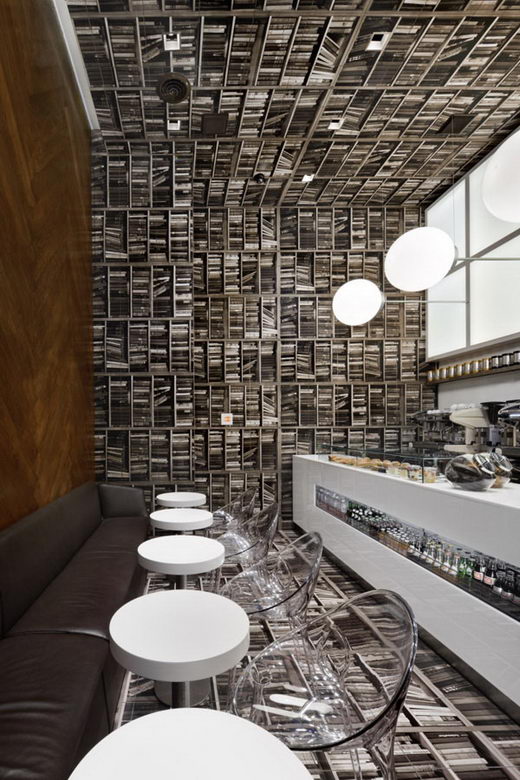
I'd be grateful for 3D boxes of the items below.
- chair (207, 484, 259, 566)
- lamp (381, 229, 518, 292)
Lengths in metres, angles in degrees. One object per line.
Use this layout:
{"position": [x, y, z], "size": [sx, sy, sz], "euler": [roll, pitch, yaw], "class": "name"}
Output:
{"position": [-0.195, 1.049, 4.105], "size": [0.381, 0.477, 0.402], "euler": [-8, 10, 25], "class": "chair"}
{"position": [0.979, -0.795, 3.372], "size": [0.417, 0.342, 0.274], "euler": [-1, 2, 17], "class": "lamp"}
